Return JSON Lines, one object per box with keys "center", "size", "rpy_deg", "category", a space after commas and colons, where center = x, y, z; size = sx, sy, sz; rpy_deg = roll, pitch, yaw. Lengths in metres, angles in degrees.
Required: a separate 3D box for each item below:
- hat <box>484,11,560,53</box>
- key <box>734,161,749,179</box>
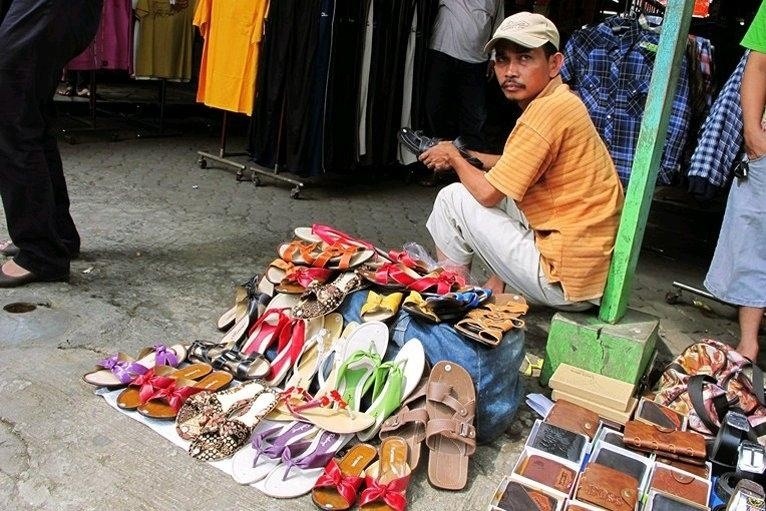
{"center": [0.838, -1.302, 3.070], "size": [0.360, 0.173, 0.267], "rpy_deg": [-2, 12, -32], "category": "hat"}
{"center": [2.483, -0.599, 3.538], "size": [0.040, 0.110, 0.062], "rpy_deg": [0, 13, -44], "category": "key"}
